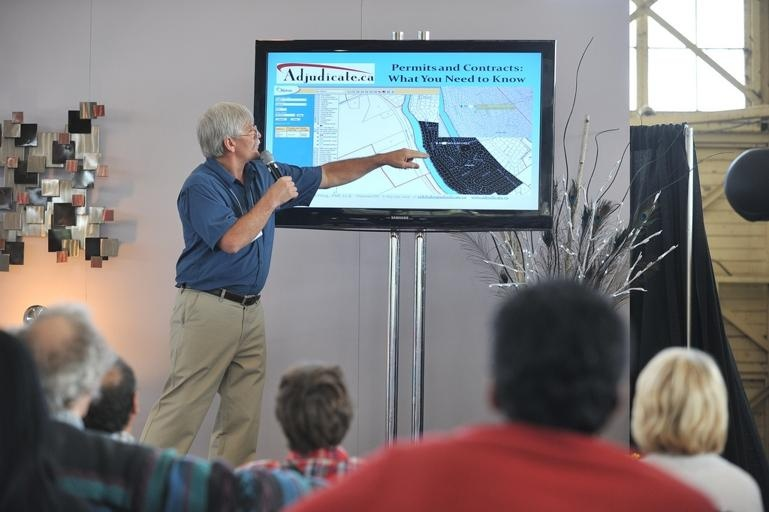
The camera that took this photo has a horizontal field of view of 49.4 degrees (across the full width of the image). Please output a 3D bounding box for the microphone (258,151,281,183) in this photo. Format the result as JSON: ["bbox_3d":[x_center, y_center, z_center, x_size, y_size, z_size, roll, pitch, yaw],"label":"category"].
[{"bbox_3d":[-0.645,-0.508,4.694,0.117,0.178,0.373,0,2,-8],"label":"microphone"}]
